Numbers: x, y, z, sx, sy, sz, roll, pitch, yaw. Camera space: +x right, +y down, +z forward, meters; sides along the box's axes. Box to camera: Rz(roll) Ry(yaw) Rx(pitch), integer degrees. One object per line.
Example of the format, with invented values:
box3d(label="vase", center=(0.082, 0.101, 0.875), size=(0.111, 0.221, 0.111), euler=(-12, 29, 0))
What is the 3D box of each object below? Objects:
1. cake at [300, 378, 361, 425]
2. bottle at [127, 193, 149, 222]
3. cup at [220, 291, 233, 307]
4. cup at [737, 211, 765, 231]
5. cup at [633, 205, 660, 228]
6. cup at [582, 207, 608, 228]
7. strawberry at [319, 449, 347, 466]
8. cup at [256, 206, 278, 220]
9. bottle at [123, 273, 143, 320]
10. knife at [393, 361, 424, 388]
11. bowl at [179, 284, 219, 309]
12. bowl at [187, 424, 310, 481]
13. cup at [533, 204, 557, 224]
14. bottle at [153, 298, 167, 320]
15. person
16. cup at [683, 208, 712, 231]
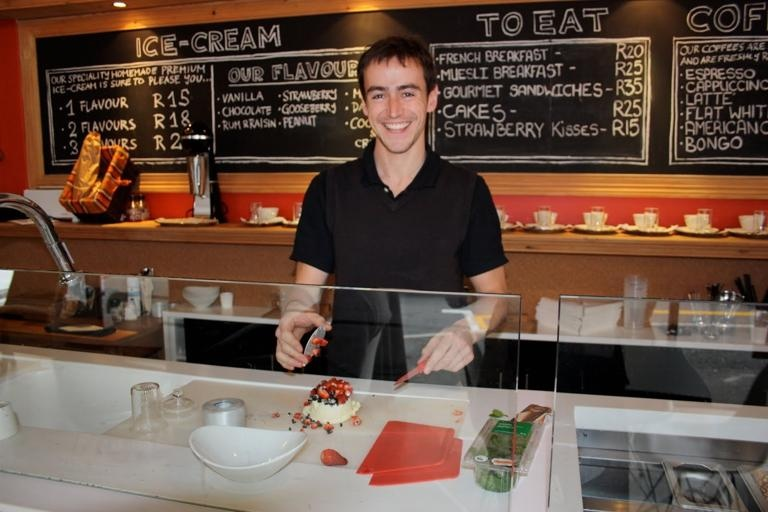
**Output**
box3d(label="cake", center=(-0.133, 0.348, 1.393), size=(0.124, 0.089, 0.100), euler=(-7, 13, -38))
box3d(label="bottle", center=(-1.511, -0.309, 3.671), size=(0.173, 0.173, 0.106), euler=(-1, -1, 8))
box3d(label="cup", center=(-0.398, 0.106, 1.456), size=(0.034, 0.036, 0.032), euler=(3, 0, 0))
box3d(label="cup", center=(1.838, -0.172, 2.922), size=(0.114, 0.087, 0.106), euler=(0, -3, 0))
box3d(label="cup", center=(1.373, -0.208, 3.045), size=(0.126, 0.096, 0.113), euler=(-4, 5, -37))
box3d(label="cup", center=(1.112, -0.196, 3.096), size=(0.118, 0.109, 0.119), euler=(5, 4, 0))
box3d(label="strawberry", center=(-0.122, 0.459, 1.326), size=(0.048, 0.020, 0.030), euler=(1, 20, 5))
box3d(label="cup", center=(-0.699, -0.247, 3.416), size=(0.088, 0.056, 0.085), euler=(1, 3, 0))
box3d(label="bottle", center=(-0.656, 0.109, 1.503), size=(0.057, 0.122, 0.017), euler=(5, 11, 26))
box3d(label="knife", center=(0.060, 0.285, 1.404), size=(0.016, 0.094, 0.004), euler=(48, 14, 12))
box3d(label="bowl", center=(-0.469, 0.101, 1.466), size=(0.069, 0.036, 0.066), euler=(5, 2, 0))
box3d(label="bowl", center=(-0.330, 0.453, 1.358), size=(0.284, 0.096, 0.102), euler=(5, 11, 23))
box3d(label="cup", center=(0.865, -0.226, 3.150), size=(0.110, 0.105, 0.113), euler=(0, 5, 0))
box3d(label="bottle", center=(-0.583, 0.136, 1.493), size=(0.042, 0.040, 0.043), euler=(-3, 12, -44))
box3d(label="person", center=(0.034, -0.102, 2.067), size=(0.770, 1.221, 0.702), euler=(-1, 11, 4))
box3d(label="cup", center=(1.622, -0.185, 2.990), size=(0.116, 0.111, 0.168), euler=(8, 12, 37))
